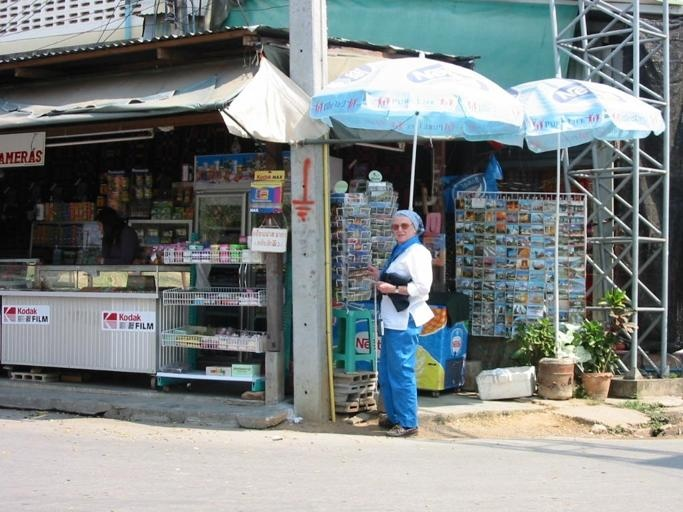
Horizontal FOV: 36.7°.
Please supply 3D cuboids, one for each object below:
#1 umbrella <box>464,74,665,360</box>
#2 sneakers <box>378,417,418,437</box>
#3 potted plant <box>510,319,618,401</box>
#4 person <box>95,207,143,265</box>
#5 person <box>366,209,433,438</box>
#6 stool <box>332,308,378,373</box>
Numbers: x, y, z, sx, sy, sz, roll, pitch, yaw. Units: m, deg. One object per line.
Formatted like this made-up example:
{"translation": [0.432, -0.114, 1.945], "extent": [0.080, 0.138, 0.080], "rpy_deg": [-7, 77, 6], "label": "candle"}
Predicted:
{"translation": [3.046, -0.478, 14.615], "extent": [2.655, 3.899, 2.674], "rpy_deg": [-3, 7, -4], "label": "umbrella"}
{"translation": [0.712, 2.114, 12.764], "extent": [0.468, 0.195, 0.170], "rpy_deg": [4, 0, 1], "label": "sneakers"}
{"translation": [3.143, 1.409, 14.358], "extent": [1.328, 1.142, 1.190], "rpy_deg": [-1, 4, 9], "label": "potted plant"}
{"translation": [-3.299, -0.243, 15.173], "extent": [0.556, 0.889, 0.531], "rpy_deg": [4, 8, 28], "label": "person"}
{"translation": [0.705, 0.822, 12.861], "extent": [0.937, 2.784, 1.029], "rpy_deg": [2, -5, -7], "label": "person"}
{"translation": [0.241, 1.131, 13.789], "extent": [0.661, 0.782, 0.678], "rpy_deg": [-1, -4, -19], "label": "stool"}
